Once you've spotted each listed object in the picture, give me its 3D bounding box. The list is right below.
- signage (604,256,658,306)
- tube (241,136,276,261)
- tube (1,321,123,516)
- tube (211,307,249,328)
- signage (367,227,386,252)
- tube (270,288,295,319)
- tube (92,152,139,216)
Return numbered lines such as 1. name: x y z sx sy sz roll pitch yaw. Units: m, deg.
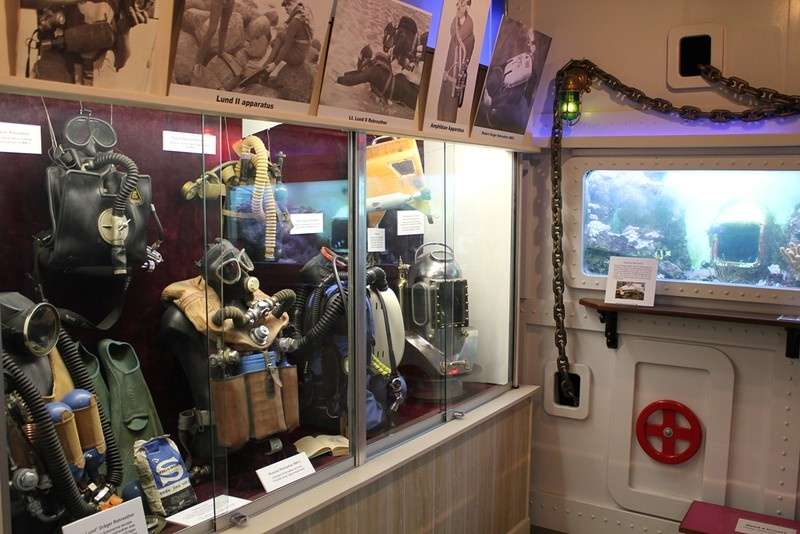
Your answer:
1. signage: 1.539 0.103 3.799 0.281 0.322 0.026 5 -6 25
2. tube: -0.619 -0.300 2.546 0.038 0.543 0.160 3 6 40
3. tube: -1.386 0.687 2.351 0.094 0.711 0.429 -19 3 19
4. tube: -0.751 0.220 2.568 0.094 0.048 0.122 6 2 7
5. signage: -0.126 -0.144 2.986 0.016 0.121 0.121 5 6 36
6. tube: -0.540 0.168 2.700 0.039 0.099 0.118 16 -44 -32
7. tube: -1.269 -0.367 2.584 0.190 0.286 0.054 -5 6 -43
